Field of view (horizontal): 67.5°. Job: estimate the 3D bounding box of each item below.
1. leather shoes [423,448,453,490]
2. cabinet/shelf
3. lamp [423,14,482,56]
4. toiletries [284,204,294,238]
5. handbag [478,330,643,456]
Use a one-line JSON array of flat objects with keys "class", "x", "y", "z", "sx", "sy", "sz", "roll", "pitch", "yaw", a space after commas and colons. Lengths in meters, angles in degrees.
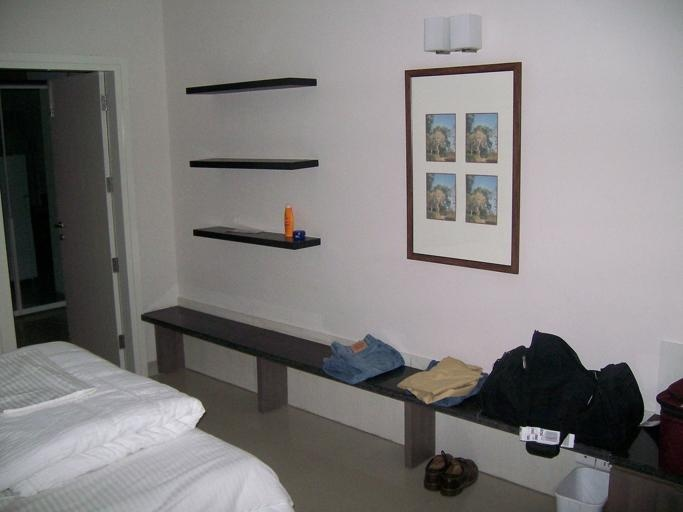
[{"class": "leather shoes", "x": 0.624, "y": 1.317, "z": 3.213, "sx": 0.131, "sy": 0.144, "sz": 0.363, "roll": 0, "pitch": 7, "yaw": 35}, {"class": "cabinet/shelf", "x": -0.651, "y": -0.737, "z": 3.931, "sx": 1.173, "sy": 1.196, "sz": 0.345, "roll": 9, "pitch": 15, "yaw": 37}, {"class": "lamp", "x": 0.607, "y": -1.237, "z": 2.847, "sx": 0.253, "sy": 0.188, "sz": 0.146, "roll": 7, "pitch": 22, "yaw": 28}, {"class": "toiletries", "x": -0.388, "y": -0.257, "z": 3.765, "sx": 0.072, "sy": 0.231, "sz": 0.207, "roll": -2, "pitch": 11, "yaw": -7}, {"class": "handbag", "x": 1.113, "y": 0.651, "z": 2.624, "sx": 0.767, "sy": 0.434, "sz": 0.382, "roll": 7, "pitch": 13, "yaw": 32}]
